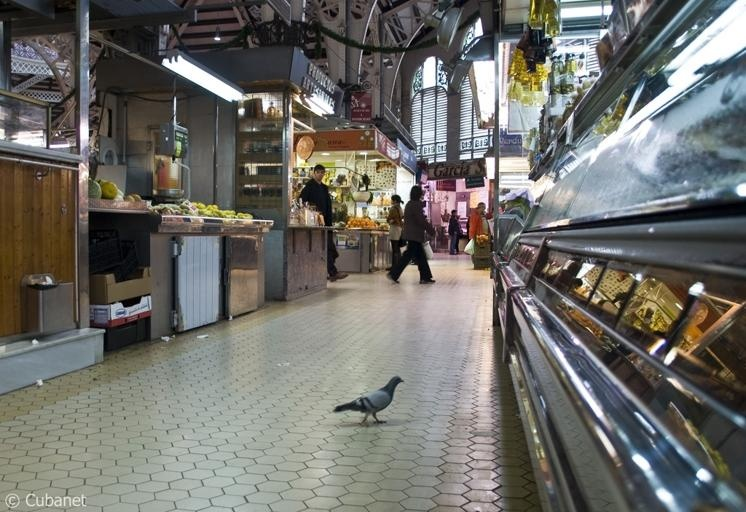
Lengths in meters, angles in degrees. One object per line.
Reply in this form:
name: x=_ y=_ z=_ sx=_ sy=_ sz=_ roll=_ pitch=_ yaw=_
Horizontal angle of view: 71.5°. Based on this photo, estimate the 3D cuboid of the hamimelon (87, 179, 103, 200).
hamimelon: x=-2.363 y=-0.576 z=4.384 sx=0.097 sy=0.170 sz=0.417 roll=-1 pitch=4 yaw=-27

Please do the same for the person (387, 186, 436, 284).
person: x=0.791 y=-0.450 z=10.010 sx=0.854 sy=1.928 sz=1.429 roll=1 pitch=3 yaw=7

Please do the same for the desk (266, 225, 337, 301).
desk: x=-1.126 y=0.074 z=7.931 sx=0.867 sy=1.192 sz=1.708 roll=-1 pitch=-1 yaw=13

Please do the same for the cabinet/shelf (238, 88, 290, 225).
cabinet/shelf: x=-1.617 y=-1.457 z=7.687 sx=1.031 sy=1.995 sz=0.356 roll=2 pitch=3 yaw=31

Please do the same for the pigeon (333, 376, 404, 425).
pigeon: x=-0.020 y=0.790 z=2.879 sx=0.390 sy=0.269 sz=0.130 roll=-1 pitch=-11 yaw=2

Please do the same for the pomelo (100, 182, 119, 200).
pomelo: x=-2.339 y=-0.591 z=4.580 sx=0.147 sy=0.175 sz=0.352 roll=-1 pitch=4 yaw=-28

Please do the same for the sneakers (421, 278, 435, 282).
sneakers: x=1.062 y=0.461 z=10.024 sx=0.264 sy=0.113 sz=0.095 roll=-1 pitch=7 yaw=-3

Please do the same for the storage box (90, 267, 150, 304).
storage box: x=-2.149 y=0.237 z=4.429 sx=0.221 sy=0.277 sz=0.493 roll=2 pitch=4 yaw=21

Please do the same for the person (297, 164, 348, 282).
person: x=-0.939 y=-0.612 z=9.690 sx=0.989 sy=2.186 sz=0.984 roll=5 pitch=11 yaw=40
